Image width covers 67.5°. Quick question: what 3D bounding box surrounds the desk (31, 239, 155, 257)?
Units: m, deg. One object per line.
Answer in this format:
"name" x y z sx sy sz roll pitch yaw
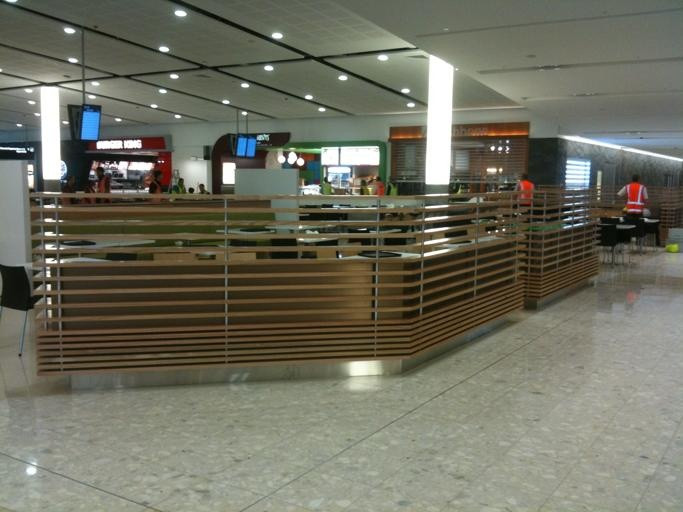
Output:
"desk" -2.351 -0.079 4.992 1.068 0.174 0.247 0 10 -7

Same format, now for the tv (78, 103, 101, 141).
"tv" -4.760 -2.565 9.736 0.386 0.683 0.482 -4 12 -22

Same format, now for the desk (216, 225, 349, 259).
"desk" -0.566 -0.147 5.204 1.304 0.327 0.221 -1 11 -7
